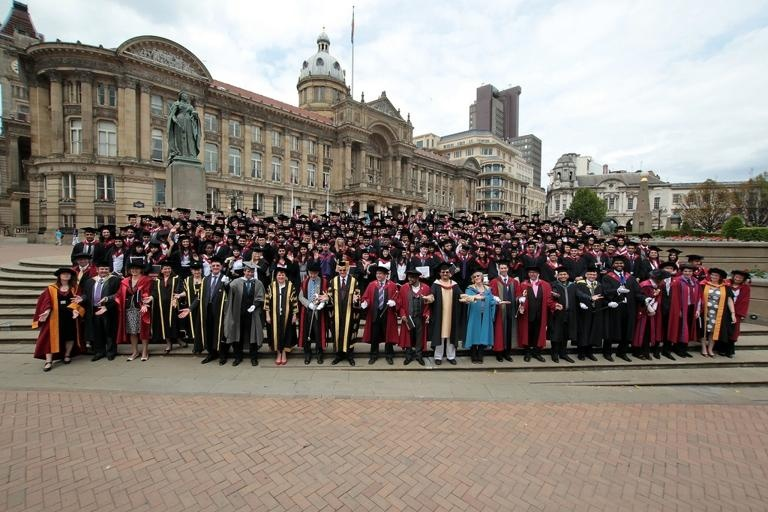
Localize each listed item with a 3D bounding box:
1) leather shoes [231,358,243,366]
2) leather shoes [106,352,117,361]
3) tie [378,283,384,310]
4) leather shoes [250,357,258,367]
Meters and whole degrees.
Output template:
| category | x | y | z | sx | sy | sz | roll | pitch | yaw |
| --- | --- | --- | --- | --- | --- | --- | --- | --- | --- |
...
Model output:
| category | x | y | z | sx | sy | sz | roll | pitch | yaw |
| --- | --- | --- | --- | --- | --- | --- | --- | --- | --- |
| leather shoes | -5.112 | 3.692 | 21.340 | 0.306 | 0.193 | 0.301 | 1 | 0 | -14 |
| leather shoes | -9.495 | 3.507 | 21.409 | 0.324 | 0.251 | 0.286 | 1 | 0 | -37 |
| tie | -0.061 | 1.427 | 21.309 | 0.259 | 0.810 | 0.078 | 1 | 0 | -8 |
| leather shoes | -4.471 | 3.697 | 21.295 | 0.270 | 0.209 | 0.269 | 1 | 0 | -30 |
